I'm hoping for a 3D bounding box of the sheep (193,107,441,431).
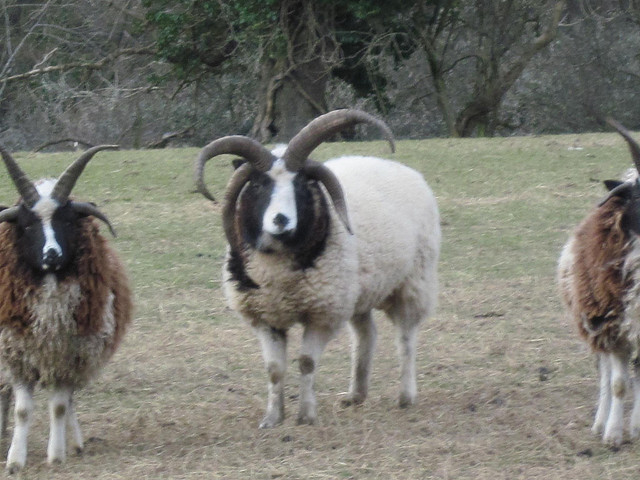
[{"bbox_3d":[0.086,0.318,15.596,2.921,3.918,1.239,-5,14,-24],"label":"sheep"}]

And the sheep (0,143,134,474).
[{"bbox_3d":[-3.198,0.791,15.023,1.518,3.790,1.356,-3,14,-15],"label":"sheep"}]
